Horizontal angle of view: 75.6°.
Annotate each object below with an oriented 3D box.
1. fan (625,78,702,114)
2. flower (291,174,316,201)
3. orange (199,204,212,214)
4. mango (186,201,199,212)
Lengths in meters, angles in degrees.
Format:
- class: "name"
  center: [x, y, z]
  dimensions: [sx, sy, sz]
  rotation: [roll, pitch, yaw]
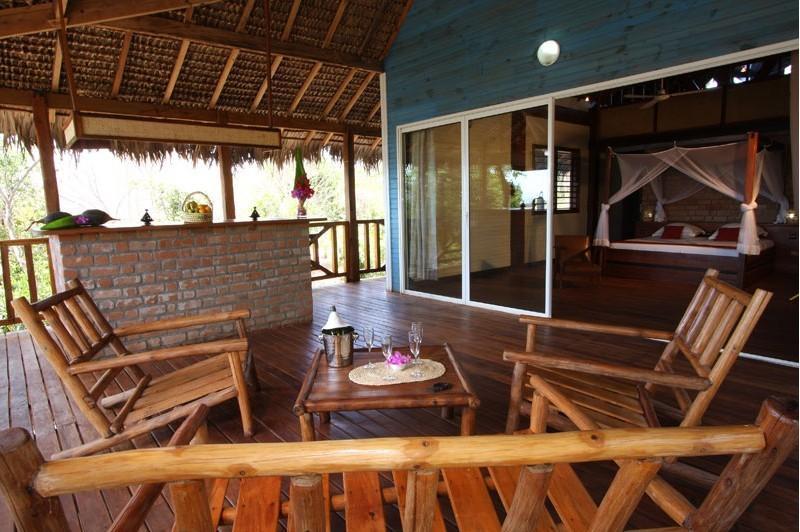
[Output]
- class: "fan"
  center: [4.273, -2.831, 8.529]
  dimensions: [0.708, 0.214, 0.757]
  rotation: [14, 33, 39]
- class: "flower"
  center: [-1.177, -0.979, 6.386]
  dimensions: [0.304, 0.264, 0.296]
  rotation: [-1, 13, -8]
- class: "orange"
  center: [-2.060, -0.619, 5.502]
  dimensions: [0.140, 0.101, 0.090]
  rotation: [-6, 10, -31]
- class: "mango"
  center: [-2.187, -0.635, 5.459]
  dimensions: [0.128, 0.125, 0.077]
  rotation: [-4, 10, -20]
